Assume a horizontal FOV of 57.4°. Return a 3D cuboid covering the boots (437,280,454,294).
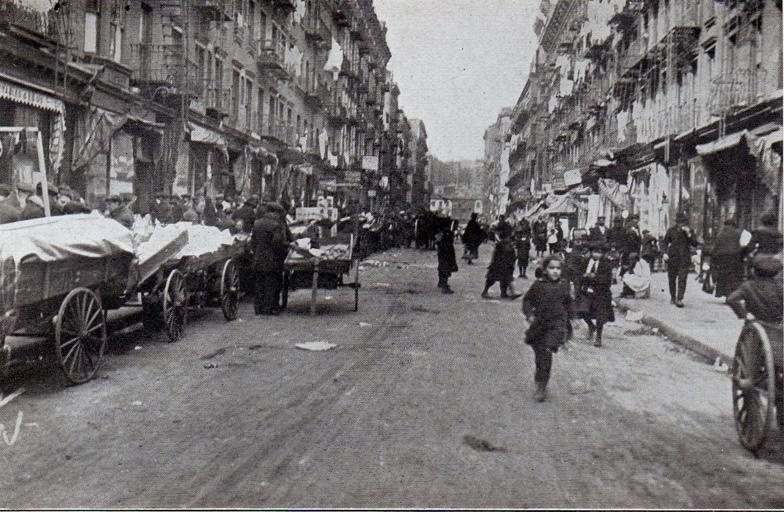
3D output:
[{"bbox_3d":[1.530,0.850,18.923,0.542,0.390,0.201,-5,18,-11],"label":"boots"}]
